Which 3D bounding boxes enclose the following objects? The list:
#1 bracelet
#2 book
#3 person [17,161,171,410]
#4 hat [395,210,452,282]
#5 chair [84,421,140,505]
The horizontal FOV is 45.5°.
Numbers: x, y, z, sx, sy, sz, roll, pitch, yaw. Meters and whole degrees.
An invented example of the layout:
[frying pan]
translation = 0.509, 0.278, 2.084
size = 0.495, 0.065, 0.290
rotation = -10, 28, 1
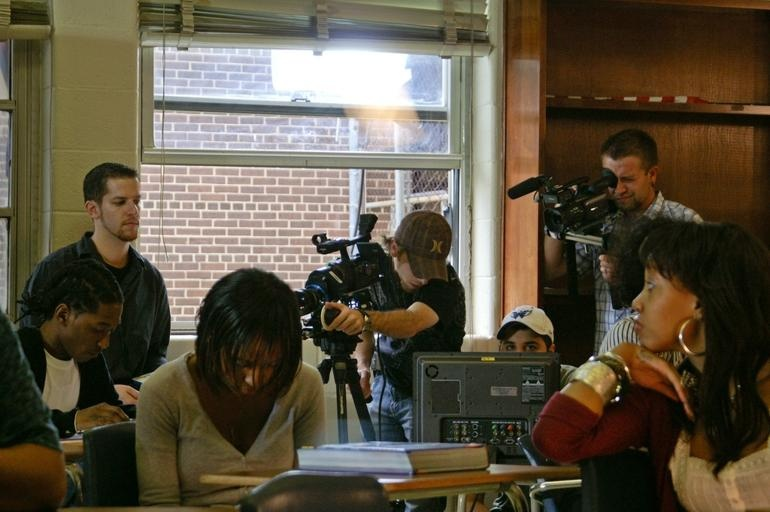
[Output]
[bracelet]
translation = 0.626, 0.357, 2.730
size = 0.120, 0.130, 0.171
rotation = -32, 28, -7
[book]
translation = 0.031, 0.617, 2.781
size = 0.579, 0.082, 0.090
rotation = 0, 1, -2
[person]
translation = -1.302, 0.157, 4.161
size = 0.667, 1.148, 0.658
rotation = 0, -9, 4
[hat]
translation = 0.161, -0.041, 3.854
size = 0.232, 0.272, 0.106
rotation = 0, 1, -2
[chair]
translation = -0.834, 0.649, 2.815
size = 0.158, 0.248, 0.107
rotation = -1, 1, -32
